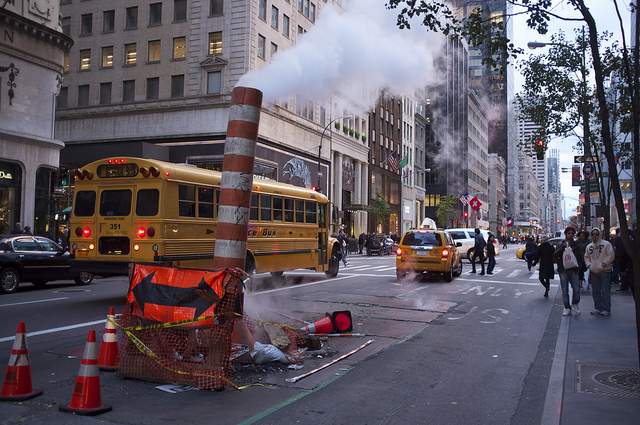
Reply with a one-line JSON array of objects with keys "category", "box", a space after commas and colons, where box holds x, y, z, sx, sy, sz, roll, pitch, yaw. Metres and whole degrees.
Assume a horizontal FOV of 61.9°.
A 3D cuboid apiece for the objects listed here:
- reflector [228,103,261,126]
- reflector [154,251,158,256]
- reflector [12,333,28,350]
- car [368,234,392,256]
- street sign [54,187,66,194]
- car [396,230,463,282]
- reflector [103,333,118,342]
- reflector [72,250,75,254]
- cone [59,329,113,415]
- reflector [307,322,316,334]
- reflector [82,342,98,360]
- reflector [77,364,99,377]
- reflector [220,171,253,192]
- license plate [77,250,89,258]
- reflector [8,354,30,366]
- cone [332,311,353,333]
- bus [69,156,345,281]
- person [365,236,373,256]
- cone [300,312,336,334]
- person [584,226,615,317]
[{"category": "reflector", "box": [-1.467, -1.925, 10.484, 0.418, 0.289, 0.437, 3, -7, 0]}, {"category": "reflector", "box": [-4.664, 1.177, 15.293, 0.075, 0.082, 0.125, 9, 27, -5]}, {"category": "reflector", "box": [-4.792, 2.063, 8.574, 0.185, 0.262, 0.196, 1, 2, -13]}, {"category": "car", "box": [5.265, 2.844, 47.134, 1.273, 1.320, 2.235, -4, -10, 24]}, {"category": "street sign", "box": [-11.927, -0.994, 24.646, 0.499, 0.123, 0.485, 4, -5, -34]}, {"category": "car", "box": [4.950, 1.859, 22.919, 3.036, 2.161, 1.847, 0, 2, -32]}, {"category": "reflector", "box": [-3.761, 2.235, 9.619, 0.177, 0.179, 0.171, 1, -1, -17]}, {"category": "reflector", "box": [-7.413, 1.208, 16.155, 0.075, 0.110, 0.039, 1, -7, -8]}, {"category": "cone", "box": [-3.618, 2.500, 8.356, 0.781, 1.207, 0.385, 2, 2, 16]}, {"category": "reflector", "box": [-0.171, 2.603, 11.858, 0.190, 0.201, 0.150, 0, 2, -36]}, {"category": "reflector", "box": [-3.576, 2.169, 8.392, 0.243, 0.350, 0.231, -2, 1, -28]}, {"category": "reflector", "box": [-3.608, 2.480, 8.336, 0.210, 0.255, 0.213, -2, 0, -8]}, {"category": "reflector", "box": [-1.588, -0.595, 10.441, 0.405, 0.272, 0.429, 3, -5, 8]}, {"category": "license plate", "box": [-7.079, 1.259, 16.047, 0.430, 0.241, 0.086, 2, 2, 27]}, {"category": "reflector", "box": [-4.819, 2.366, 8.578, 0.277, 0.187, 0.183, 0, 2, -26]}, {"category": "cone", "box": [0.533, 2.524, 12.308, 0.473, 0.497, 0.214, 1, 2, -7]}, {"category": "bus", "box": [-2.107, 0.238, 20.560, 3.901, 4.016, 13.098, -1, -2, 35]}, {"category": "person", "box": [4.299, 2.958, 46.050, 0.520, 1.485, 0.669, 1, 2, 1]}, {"category": "cone", "box": [0.011, 2.540, 12.119, 0.615, 0.385, 0.344, -1, -11, -23]}, {"category": "person", "box": [7.856, 1.682, 15.064, 0.682, 2.405, 0.742, 2, 2, 27]}]
